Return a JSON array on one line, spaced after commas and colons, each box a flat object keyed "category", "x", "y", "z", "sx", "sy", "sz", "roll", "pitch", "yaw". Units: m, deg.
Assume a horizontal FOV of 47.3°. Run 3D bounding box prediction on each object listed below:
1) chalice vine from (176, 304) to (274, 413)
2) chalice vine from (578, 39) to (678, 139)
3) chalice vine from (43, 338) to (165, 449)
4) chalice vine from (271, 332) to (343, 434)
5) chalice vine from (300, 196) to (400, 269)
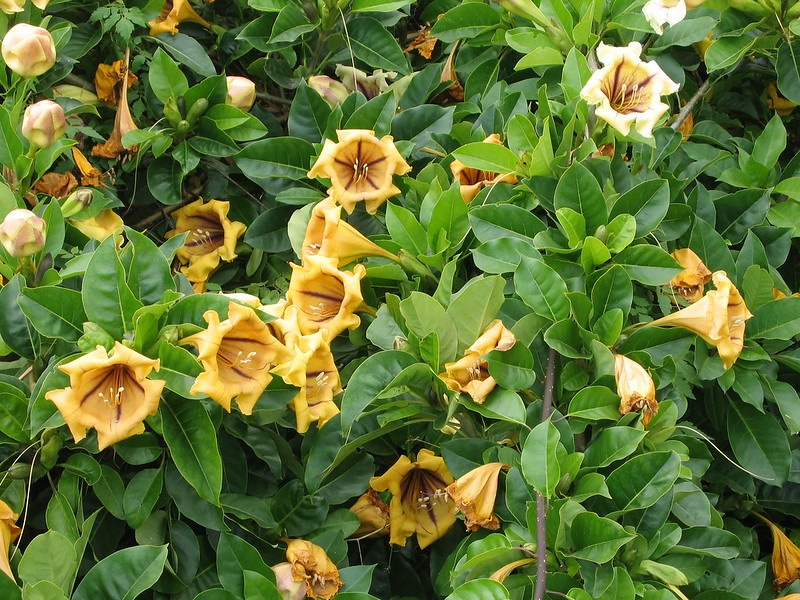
[{"category": "chalice vine", "x": -0.530, "y": 0.197, "z": 2.980, "sx": 0.271, "sy": 0.243, "sz": 0.284, "roll": 2, "pitch": 60, "yaw": -6}, {"category": "chalice vine", "x": 0.835, "y": -0.818, "z": 3.423, "sx": 0.405, "sy": 0.352, "sz": 0.182, "roll": 26, "pitch": 101, "yaw": 28}, {"category": "chalice vine", "x": -0.931, "y": 0.236, "z": 2.957, "sx": 0.335, "sy": 0.192, "sz": 0.351, "roll": -31, "pitch": 101, "yaw": 0}, {"category": "chalice vine", "x": -0.311, "y": 0.290, "z": 3.238, "sx": 0.109, "sy": 0.296, "sz": 0.312, "roll": -17, "pitch": 68, "yaw": 20}, {"category": "chalice vine", "x": -0.148, "y": -0.228, "z": 3.495, "sx": 0.388, "sy": 0.293, "sz": 0.221, "roll": 8, "pitch": 83, "yaw": 5}]
